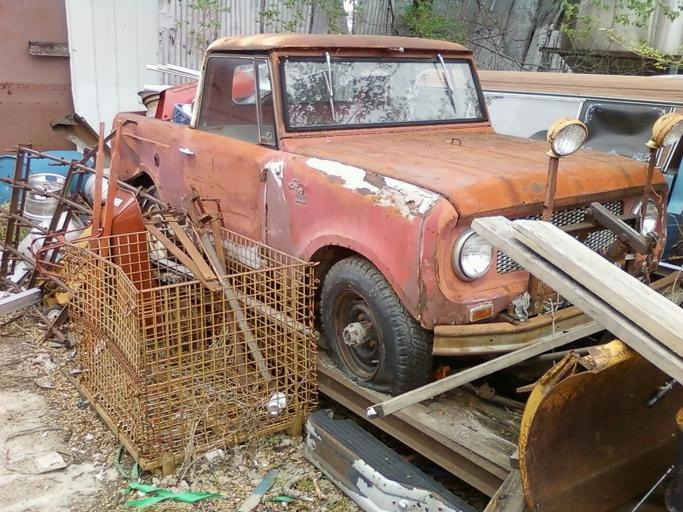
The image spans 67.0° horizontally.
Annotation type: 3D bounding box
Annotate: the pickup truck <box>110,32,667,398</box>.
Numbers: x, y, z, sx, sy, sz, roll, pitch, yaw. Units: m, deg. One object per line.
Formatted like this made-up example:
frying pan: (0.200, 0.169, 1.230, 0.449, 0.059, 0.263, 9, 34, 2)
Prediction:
pickup truck: (0.008, -0.619, 4.814, 2.730, 1.917, 4.447, -18, 31, -36)
